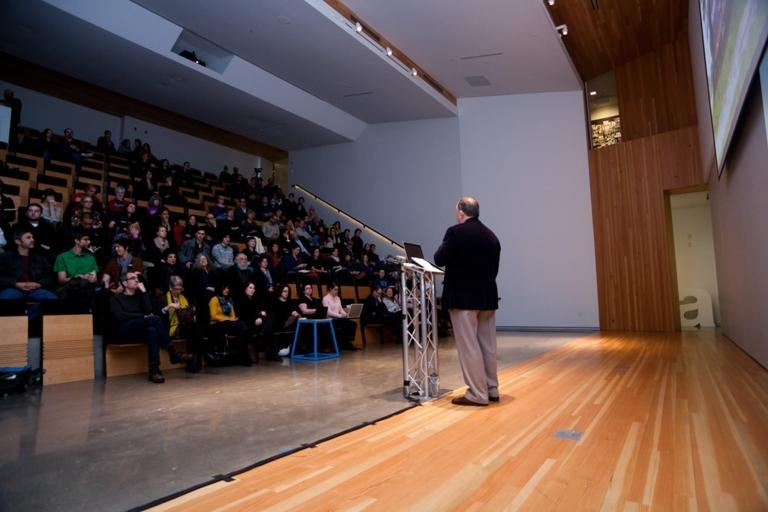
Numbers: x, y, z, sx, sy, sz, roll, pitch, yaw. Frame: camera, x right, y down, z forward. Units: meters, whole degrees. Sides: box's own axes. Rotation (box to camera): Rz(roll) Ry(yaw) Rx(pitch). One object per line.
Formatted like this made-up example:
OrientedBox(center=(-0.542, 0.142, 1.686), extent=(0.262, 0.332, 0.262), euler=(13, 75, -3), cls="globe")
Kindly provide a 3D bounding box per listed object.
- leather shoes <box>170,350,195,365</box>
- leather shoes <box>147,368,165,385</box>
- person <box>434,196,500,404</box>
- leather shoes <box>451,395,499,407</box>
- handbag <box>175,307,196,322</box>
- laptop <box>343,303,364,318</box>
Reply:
OrientedBox(center=(-2.478, 1.228, 5.554), extent=(0.369, 0.178, 0.141), euler=(1, -2, -1), cls="leather shoes")
OrientedBox(center=(-2.518, 1.351, 5.132), extent=(0.108, 0.128, 0.279), euler=(3, -7, -45), cls="leather shoes")
OrientedBox(center=(0.755, 0.399, 4.162), extent=(0.622, 1.852, 0.350), euler=(-1, 2, -1), cls="person")
OrientedBox(center=(0.823, 1.311, 4.139), extent=(0.392, 0.151, 0.149), euler=(3, -9, 1), cls="leather shoes")
OrientedBox(center=(-2.460, 0.729, 5.697), extent=(0.198, 0.197, 0.087), euler=(0, -6, -41), cls="handbag")
OrientedBox(center=(-0.487, 0.882, 7.327), extent=(0.228, 0.235, 0.338), euler=(4, -4, 30), cls="laptop")
